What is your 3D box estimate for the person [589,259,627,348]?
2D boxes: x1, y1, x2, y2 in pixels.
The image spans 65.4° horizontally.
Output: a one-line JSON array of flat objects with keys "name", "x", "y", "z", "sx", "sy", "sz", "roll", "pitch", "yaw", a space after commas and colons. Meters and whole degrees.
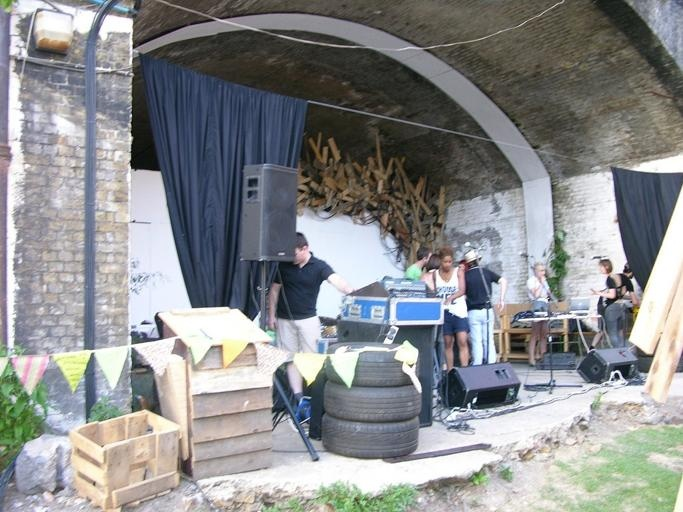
[{"name": "person", "x": 4.543, "y": 0.784, "z": 9.030, "sx": 0.453, "sy": 1.424, "sz": 0.774, "roll": 2, "pitch": 1, "yaw": 27}]

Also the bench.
[{"name": "bench", "x": 3.551, "y": 1.426, "z": 9.968, "sx": 1.464, "sy": 1.364, "sz": 0.688, "roll": 0, "pitch": -6, "yaw": -6}]

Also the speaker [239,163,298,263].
[{"name": "speaker", "x": -0.784, "y": -0.484, "z": 5.857, "sx": 0.596, "sy": 1.091, "sz": 0.467, "roll": 2, "pitch": 1, "yaw": -9}]

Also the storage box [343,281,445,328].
[{"name": "storage box", "x": 0.597, "y": 0.534, "z": 5.952, "sx": 1.054, "sy": 0.379, "sz": 1.067, "roll": 1, "pitch": -3, "yaw": 25}]

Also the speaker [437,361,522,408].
[{"name": "speaker", "x": 1.756, "y": 1.595, "z": 6.685, "sx": 0.899, "sy": 0.477, "sz": 0.544, "roll": 1, "pitch": 3, "yaw": -22}]

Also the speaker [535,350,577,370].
[{"name": "speaker", "x": 3.921, "y": 1.920, "z": 9.751, "sx": 0.754, "sy": 0.287, "sz": 0.597, "roll": 1, "pitch": -6, "yaw": 5}]

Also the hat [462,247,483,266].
[{"name": "hat", "x": 1.802, "y": 0.036, "z": 7.566, "sx": 0.329, "sy": 0.138, "sz": 0.357, "roll": -29, "pitch": -8, "yaw": -11}]

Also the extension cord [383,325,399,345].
[{"name": "extension cord", "x": 0.521, "y": 0.820, "z": 5.562, "sx": 0.156, "sy": 0.142, "sz": 0.326, "roll": 2, "pitch": 0, "yaw": 6}]

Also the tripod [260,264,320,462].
[{"name": "tripod", "x": -0.570, "y": 0.980, "z": 5.651, "sx": 0.573, "sy": 1.816, "sz": 1.765, "roll": 2, "pitch": 1, "yaw": -8}]

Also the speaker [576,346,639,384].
[{"name": "speaker", "x": 3.928, "y": 1.590, "z": 7.868, "sx": 0.743, "sy": 0.478, "sz": 0.556, "roll": 0, "pitch": -4, "yaw": -31}]
